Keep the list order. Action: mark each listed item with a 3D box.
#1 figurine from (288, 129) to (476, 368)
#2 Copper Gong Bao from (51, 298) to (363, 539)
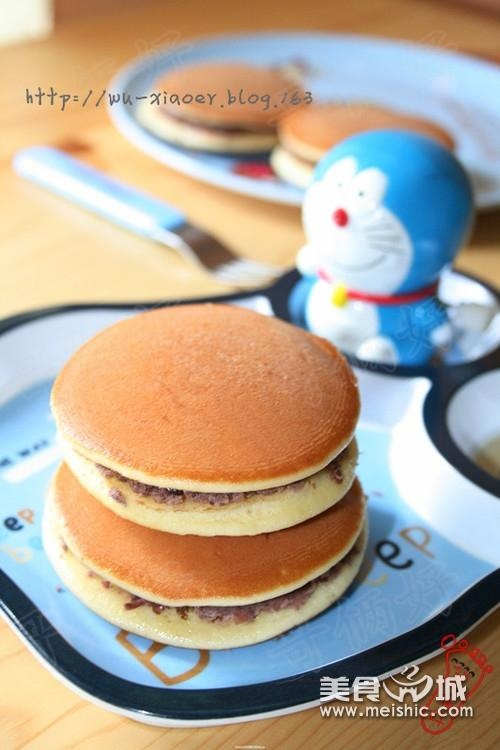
[{"bbox_3d":[0.172,-0.181,0.949,0.247,0.265,0.184,5,41,10],"label":"figurine"},{"bbox_3d":[-0.032,0.029,0.654,0.271,0.126,0.235,-13,31,-23],"label":"Copper Gong Bao"}]
